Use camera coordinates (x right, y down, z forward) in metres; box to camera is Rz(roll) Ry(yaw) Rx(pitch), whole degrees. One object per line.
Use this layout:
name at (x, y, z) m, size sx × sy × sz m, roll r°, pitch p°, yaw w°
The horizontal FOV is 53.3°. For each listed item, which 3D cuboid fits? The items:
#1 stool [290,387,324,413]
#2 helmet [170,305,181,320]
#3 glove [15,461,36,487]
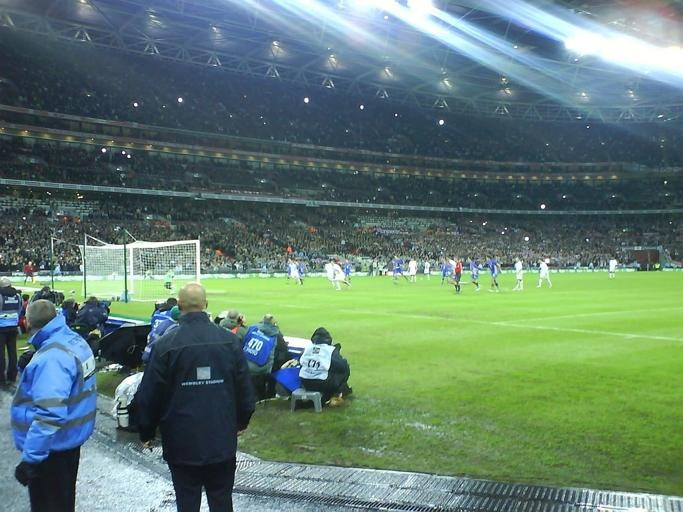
stool at (-0.839, 3.469, 16.368) m, size 0.790 × 0.525 × 0.391 m, roll 0°, pitch -2°, yaw 1°
helmet at (-3.939, 1.373, 16.084) m, size 0.136 × 0.310 × 0.523 m, roll 1°, pitch -3°, yaw -24°
glove at (-5.885, 4.065, 12.679) m, size 0.375 × 0.446 × 0.453 m, roll 4°, pitch -11°, yaw -8°
